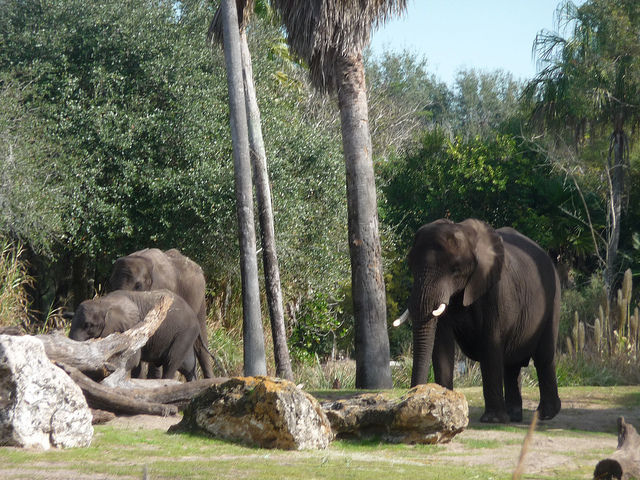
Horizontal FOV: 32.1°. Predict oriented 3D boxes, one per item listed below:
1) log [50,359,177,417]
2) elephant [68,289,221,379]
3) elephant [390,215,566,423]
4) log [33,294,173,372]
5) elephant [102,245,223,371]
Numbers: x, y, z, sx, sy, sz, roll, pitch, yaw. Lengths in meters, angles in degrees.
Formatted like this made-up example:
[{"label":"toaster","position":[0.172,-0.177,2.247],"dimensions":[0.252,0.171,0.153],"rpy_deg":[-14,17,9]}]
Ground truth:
[{"label":"log","position":[-3.905,2.794,20.638],"dimensions":[1.464,0.238,0.356],"rpy_deg":[35,16,-18]},{"label":"elephant","position":[-3.928,2.344,24.046],"dimensions":[3.113,2.606,1.833],"rpy_deg":[-4,11,-20]},{"label":"elephant","position":[3.388,1.609,22.454],"dimensions":[4.154,4.659,1.963],"rpy_deg":[5,1,-34]},{"label":"log","position":[-4.315,2.008,21.812],"dimensions":[2.169,1.674,1.115],"rpy_deg":[7,4,-35]},{"label":"elephant","position":[-3.644,1.584,25.290],"dimensions":[1.824,3.049,4.085],"rpy_deg":[-5,-10,40]}]
